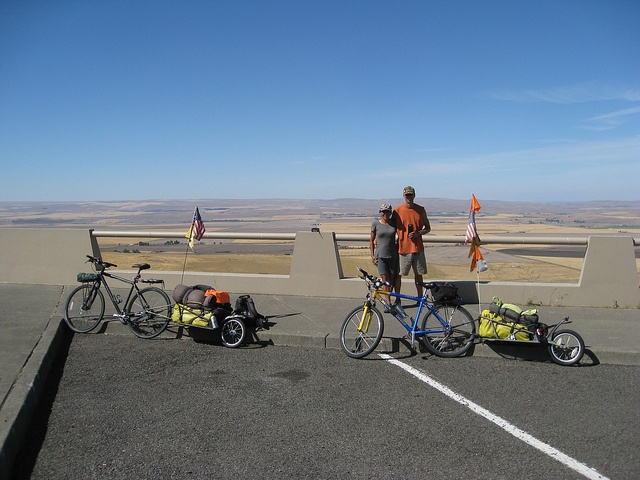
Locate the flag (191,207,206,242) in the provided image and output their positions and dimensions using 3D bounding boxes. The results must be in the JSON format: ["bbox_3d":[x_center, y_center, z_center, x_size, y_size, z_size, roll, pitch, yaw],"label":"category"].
[{"bbox_3d":[-2.540,-0.317,8.919,0.226,0.737,0.607,-2,9,-9],"label":"flag"}]

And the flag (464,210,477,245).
[{"bbox_3d":[2.820,-0.244,7.906,0.195,0.664,0.489,3,10,19],"label":"flag"}]

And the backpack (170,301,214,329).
[{"bbox_3d":[-2.157,1.310,7.235,0.539,0.192,0.410,13,1,-1],"label":"backpack"}]

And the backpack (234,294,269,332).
[{"bbox_3d":[-1.166,1.252,7.234,0.551,0.569,0.339,-2,9,-11],"label":"backpack"}]

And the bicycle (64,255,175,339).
[{"bbox_3d":[-3.704,1.031,7.642,2.143,1.350,0.935,4,10,29],"label":"bicycle"}]
